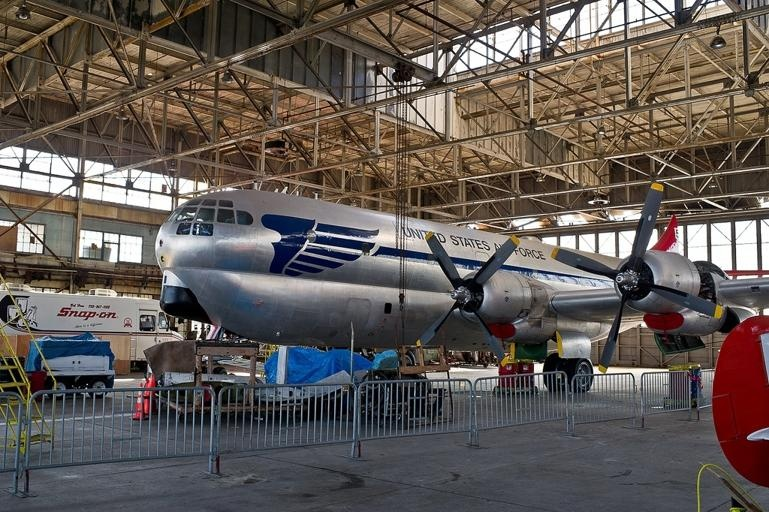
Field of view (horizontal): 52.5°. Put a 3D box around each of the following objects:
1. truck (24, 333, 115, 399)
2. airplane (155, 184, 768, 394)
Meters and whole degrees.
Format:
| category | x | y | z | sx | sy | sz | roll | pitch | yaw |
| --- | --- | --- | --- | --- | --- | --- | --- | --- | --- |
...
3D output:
| category | x | y | z | sx | sy | sz | roll | pitch | yaw |
| --- | --- | --- | --- | --- | --- | --- | --- | --- | --- |
| truck | -11.131 | 3.907 | 27.431 | 2.736 | 2.222 | 3.111 | 1 | -6 | -8 |
| airplane | 1.746 | 1.253 | 25.839 | 17.488 | 6.319 | 7.511 | 0 | -6 | -3 |
